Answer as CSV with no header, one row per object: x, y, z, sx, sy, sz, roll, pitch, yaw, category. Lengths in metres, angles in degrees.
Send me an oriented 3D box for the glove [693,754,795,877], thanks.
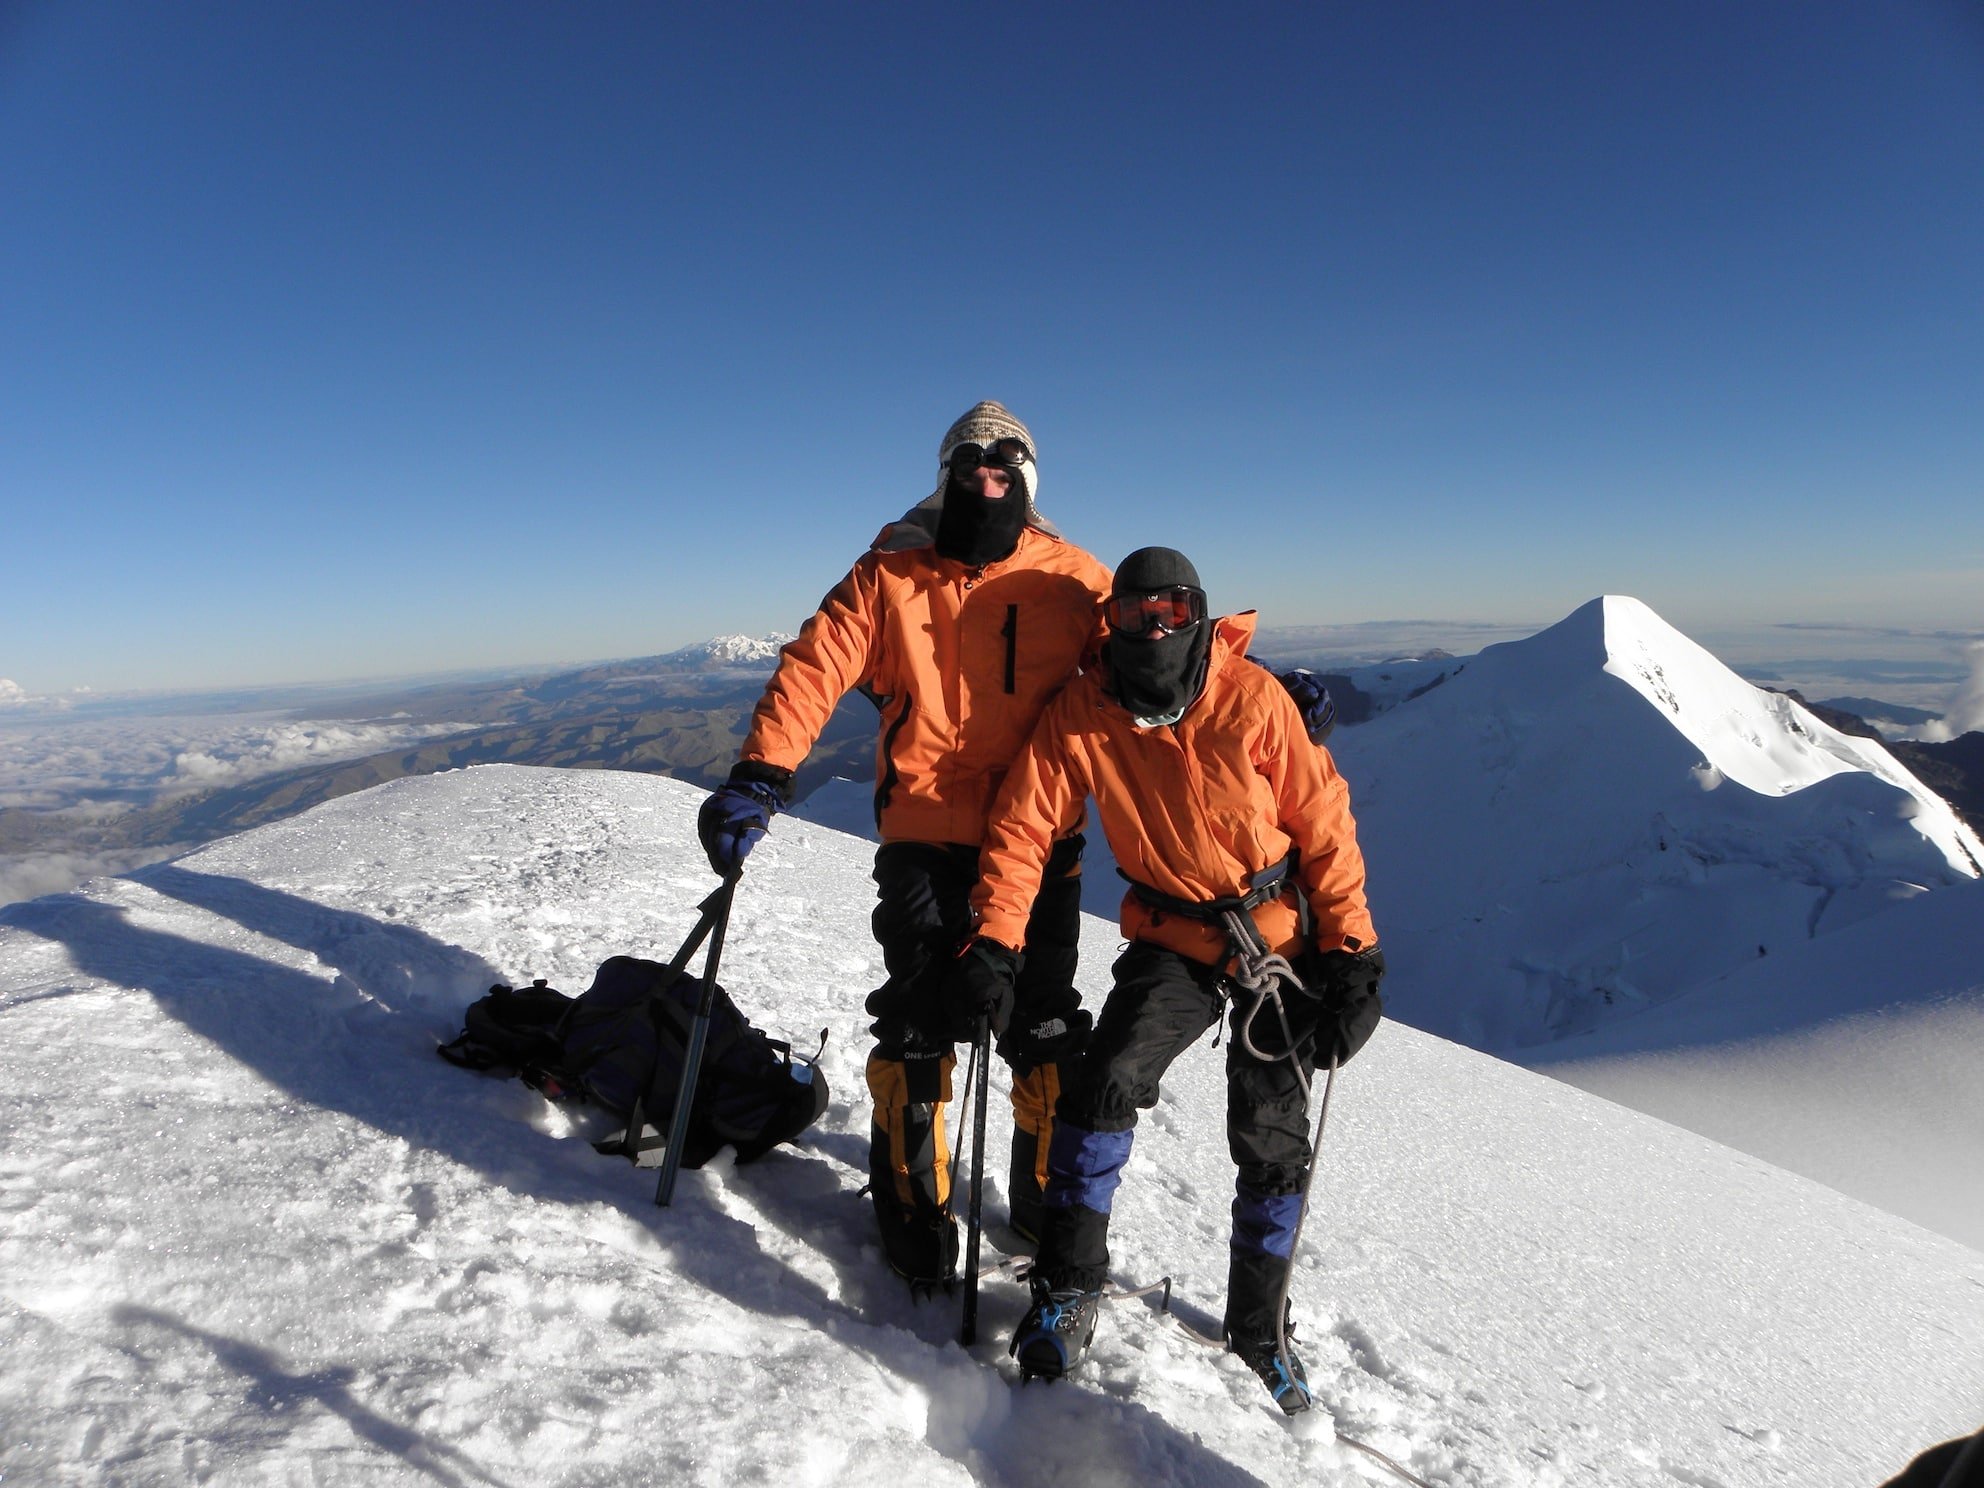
-1.369,0.421,7.670,0.535,0.620,0.276,30,-10,25,glove

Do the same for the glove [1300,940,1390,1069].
1.960,1.461,7.881,0.563,0.624,0.285,1,-6,10,glove
